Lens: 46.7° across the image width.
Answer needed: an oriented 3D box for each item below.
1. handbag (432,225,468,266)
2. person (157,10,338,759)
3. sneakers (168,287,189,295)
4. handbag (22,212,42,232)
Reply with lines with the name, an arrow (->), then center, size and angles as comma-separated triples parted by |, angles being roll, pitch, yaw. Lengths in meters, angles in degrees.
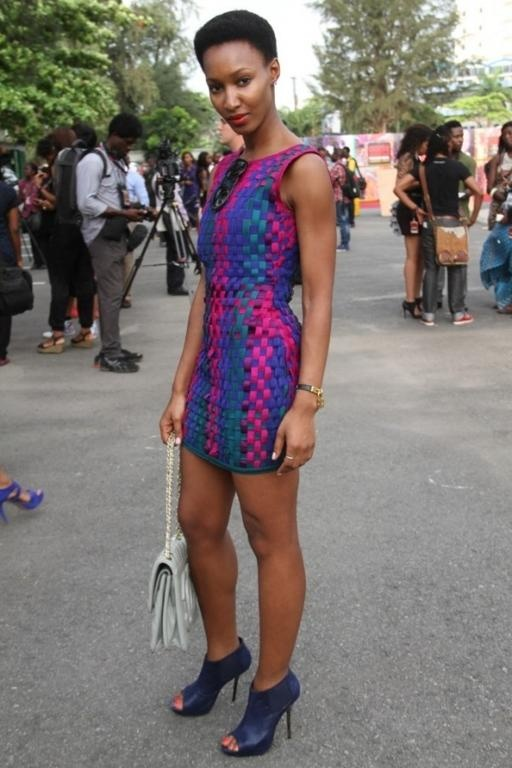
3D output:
handbag -> 2.585, -1.853, 7.896 | 0.538, 0.666, 0.179 | 0, -15, -13
person -> -0.014, 0.101, 1.374 | 0.307, 1.719, 0.478 | -9, 12, -35
sneakers -> -1.497, -1.817, 11.616 | 0.478, 0.192, 0.163 | -2, 21, -8
handbag -> -3.703, -2.683, 9.895 | 0.131, 0.325, 1.558 | -6, 11, -24
